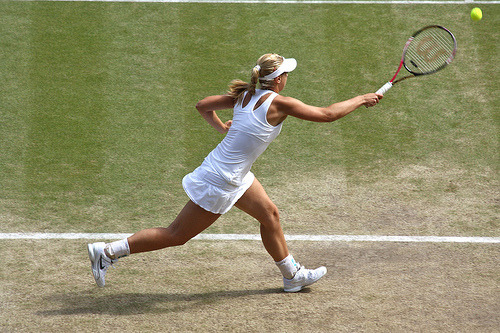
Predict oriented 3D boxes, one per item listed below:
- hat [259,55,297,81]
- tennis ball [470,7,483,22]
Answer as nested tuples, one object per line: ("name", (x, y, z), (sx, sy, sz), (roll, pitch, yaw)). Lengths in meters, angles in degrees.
("hat", (0.342, -1.107, 7.194), (0.232, 0.480, 0.087), (-102, 172, -55))
("tennis ball", (3.283, -2.206, 9.069), (0.160, 0.179, 0.300), (24, 16, 10))
